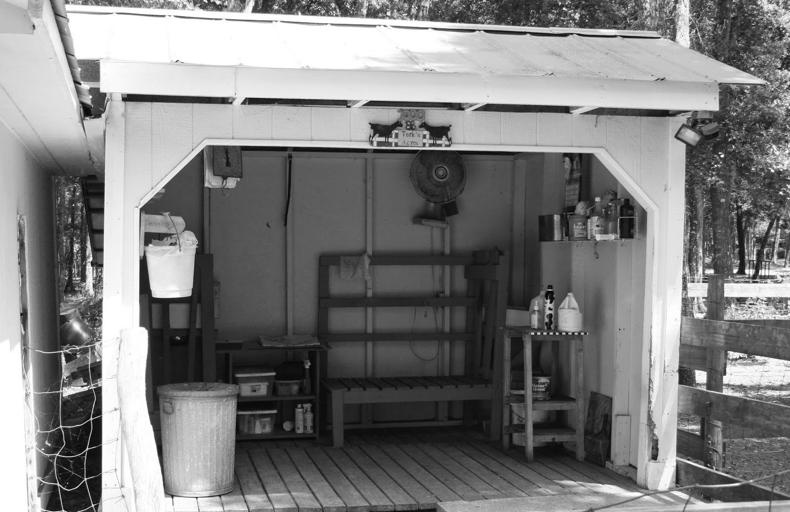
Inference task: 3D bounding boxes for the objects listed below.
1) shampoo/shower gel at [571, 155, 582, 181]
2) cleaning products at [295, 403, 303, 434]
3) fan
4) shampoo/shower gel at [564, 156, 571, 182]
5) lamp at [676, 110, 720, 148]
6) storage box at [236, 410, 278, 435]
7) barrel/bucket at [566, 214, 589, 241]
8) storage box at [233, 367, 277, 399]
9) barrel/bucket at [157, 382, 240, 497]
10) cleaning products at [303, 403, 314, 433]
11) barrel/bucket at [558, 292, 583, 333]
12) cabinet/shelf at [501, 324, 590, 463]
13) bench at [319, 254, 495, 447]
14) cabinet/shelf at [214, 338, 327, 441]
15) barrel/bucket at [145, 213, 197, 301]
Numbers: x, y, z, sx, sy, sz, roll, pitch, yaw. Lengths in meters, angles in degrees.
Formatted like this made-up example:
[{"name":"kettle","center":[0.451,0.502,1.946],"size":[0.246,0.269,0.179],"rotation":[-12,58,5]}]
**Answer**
[{"name":"shampoo/shower gel","center":[2.169,-1.063,10.620],"size":[0.077,0.294,0.220],"rotation":[-3,8,-13]},{"name":"cleaning products","center":[-1.188,2.001,10.895],"size":[0.125,0.416,0.270],"rotation":[0,2,-5]},{"name":"fan","center":[0.562,-0.872,11.453],"size":[0.739,1.123,0.281],"rotation":[-1,-8,-5]},{"name":"shampoo/shower gel","center":[2.093,-1.073,10.805],"size":[0.069,0.222,0.148],"rotation":[1,8,-5]},{"name":"lamp","center":[3.118,-1.318,9.228],"size":[0.422,0.357,0.392],"rotation":[1,9,17]},{"name":"storage box","center":[-1.714,2.016,10.819],"size":[0.427,0.362,0.658],"rotation":[1,0,-6]},{"name":"barrel/bucket","center":[2.095,-0.318,10.183],"size":[0.258,0.427,0.243],"rotation":[-1,-3,0]},{"name":"storage box","center":[-1.717,1.536,10.772],"size":[0.397,0.291,0.313],"rotation":[1,-1,-12]},{"name":"barrel/bucket","center":[-2.099,1.876,9.465],"size":[0.746,1.161,0.788],"rotation":[0,-3,0]},{"name":"cleaning products","center":[-1.082,1.992,10.925],"size":[0.147,0.458,0.296],"rotation":[0,3,-4]},{"name":"barrel/bucket","center":[2.027,0.657,10.374],"size":[0.251,0.467,0.276],"rotation":[7,-7,-37]},{"name":"cabinet/shelf","center":[1.783,1.634,10.570],"size":[0.890,1.655,0.864],"rotation":[0,0,19]},{"name":"bench","center":[0.060,1.164,11.223],"size":[1.858,2.476,1.029],"rotation":[1,6,-10]},{"name":"cabinet/shelf","center":[-1.551,1.549,10.886],"size":[1.313,1.354,1.130],"rotation":[0,6,-6]},{"name":"barrel/bucket","center":[-2.306,0.019,9.208],"size":[0.482,0.790,0.541],"rotation":[-1,-1,-19]}]
